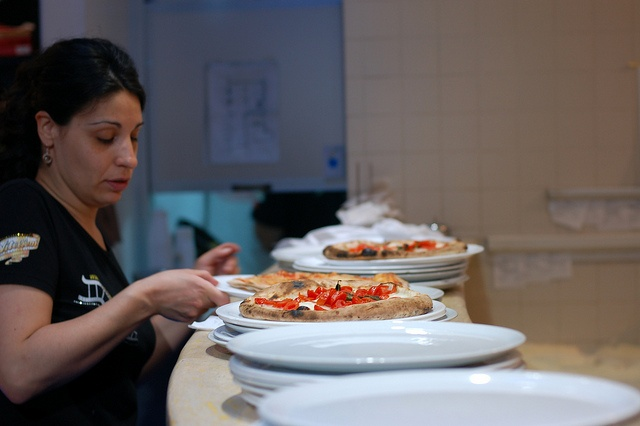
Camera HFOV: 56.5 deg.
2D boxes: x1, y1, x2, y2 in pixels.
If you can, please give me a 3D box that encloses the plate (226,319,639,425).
[{"bbox_3d":[0.151,0.239,0.890,0.546,0.115,0.297,-3,3,-13],"label":"plate"}]
